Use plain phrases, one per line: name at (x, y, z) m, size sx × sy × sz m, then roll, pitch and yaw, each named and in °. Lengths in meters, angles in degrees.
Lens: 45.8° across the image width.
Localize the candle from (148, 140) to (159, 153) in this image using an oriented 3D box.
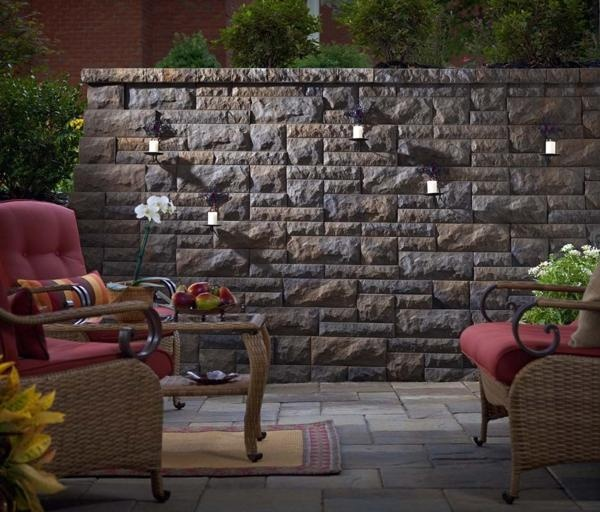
candle at (-1.042, -0.784, 5.064) m, size 0.086 × 0.108 × 0.118 m, roll -2°, pitch 7°, yaw -11°

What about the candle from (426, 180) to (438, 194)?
candle at (0.927, -0.481, 4.965) m, size 0.109 × 0.088 × 0.093 m, roll 0°, pitch 3°, yaw -1°

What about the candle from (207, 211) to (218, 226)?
candle at (-0.617, -0.263, 5.027) m, size 0.079 × 0.119 × 0.118 m, roll -2°, pitch 7°, yaw -6°

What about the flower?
flower at (-0.879, -0.083, 4.625) m, size 0.349 × 0.607 × 0.335 m, roll 4°, pitch 7°, yaw -11°

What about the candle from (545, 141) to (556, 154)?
candle at (1.772, -0.764, 4.998) m, size 0.088 × 0.112 × 0.085 m, roll 0°, pitch 8°, yaw 8°

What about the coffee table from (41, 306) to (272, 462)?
coffee table at (-0.540, 0.554, 3.615) m, size 1.222 × 0.516 × 0.807 m, roll -1°, pitch -2°, yaw 3°

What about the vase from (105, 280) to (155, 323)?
vase at (-0.836, 0.222, 3.682) m, size 0.298 × 0.212 × 0.258 m, roll 1°, pitch 7°, yaw -7°

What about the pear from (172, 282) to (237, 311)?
pear at (-0.501, 0.206, 3.629) m, size 0.322 × 0.132 × 0.242 m, roll -3°, pitch 7°, yaw -19°

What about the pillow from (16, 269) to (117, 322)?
pillow at (-1.296, 0.236, 4.083) m, size 0.330 × 0.247 × 0.508 m, roll 0°, pitch 0°, yaw 28°

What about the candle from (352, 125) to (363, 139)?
candle at (0.404, -0.874, 4.993) m, size 0.115 × 0.072 × 0.075 m, roll 0°, pitch -1°, yaw -3°
